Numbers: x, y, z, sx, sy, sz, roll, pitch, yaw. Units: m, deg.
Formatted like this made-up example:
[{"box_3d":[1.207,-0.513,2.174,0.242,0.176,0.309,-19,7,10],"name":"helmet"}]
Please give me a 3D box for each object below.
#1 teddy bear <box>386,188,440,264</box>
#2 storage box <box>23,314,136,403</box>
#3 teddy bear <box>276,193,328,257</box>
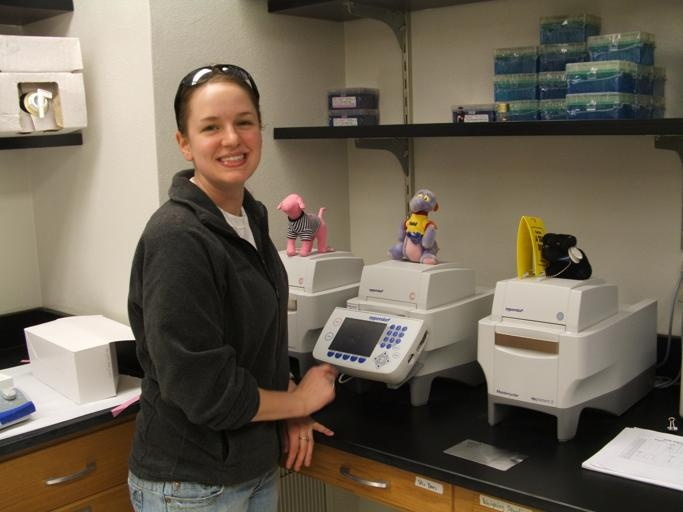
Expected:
[{"box_3d":[0.229,-0.096,1.761,0.150,0.227,0.190,0,12,8],"name":"teddy bear"},{"box_3d":[-0.869,0.341,1.911,0.385,0.194,0.274,10,14,36],"name":"storage box"},{"box_3d":[-0.122,-0.103,1.877,0.120,0.211,0.241,-1,1,33],"name":"teddy bear"}]
